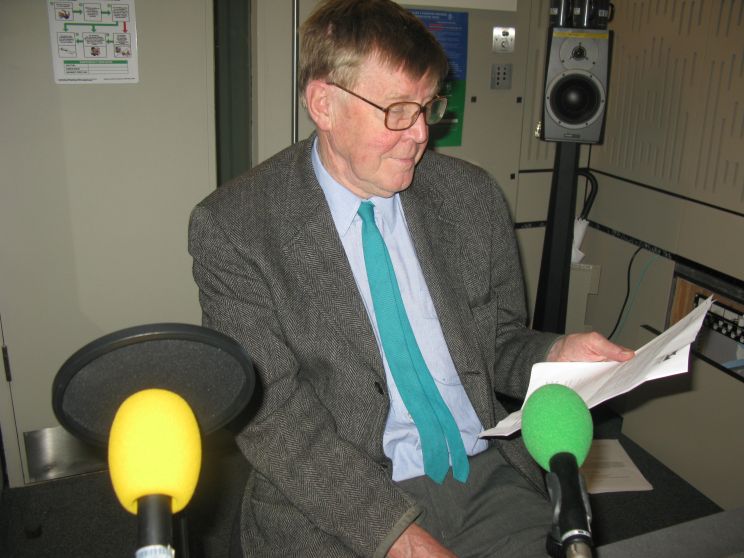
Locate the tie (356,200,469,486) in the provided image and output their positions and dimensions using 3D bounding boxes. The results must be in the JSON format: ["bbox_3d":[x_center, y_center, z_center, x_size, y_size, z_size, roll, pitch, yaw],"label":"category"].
[{"bbox_3d":[0.070,0.212,1.726,0.174,0.973,0.090,-14,-8,-21],"label":"tie"}]
